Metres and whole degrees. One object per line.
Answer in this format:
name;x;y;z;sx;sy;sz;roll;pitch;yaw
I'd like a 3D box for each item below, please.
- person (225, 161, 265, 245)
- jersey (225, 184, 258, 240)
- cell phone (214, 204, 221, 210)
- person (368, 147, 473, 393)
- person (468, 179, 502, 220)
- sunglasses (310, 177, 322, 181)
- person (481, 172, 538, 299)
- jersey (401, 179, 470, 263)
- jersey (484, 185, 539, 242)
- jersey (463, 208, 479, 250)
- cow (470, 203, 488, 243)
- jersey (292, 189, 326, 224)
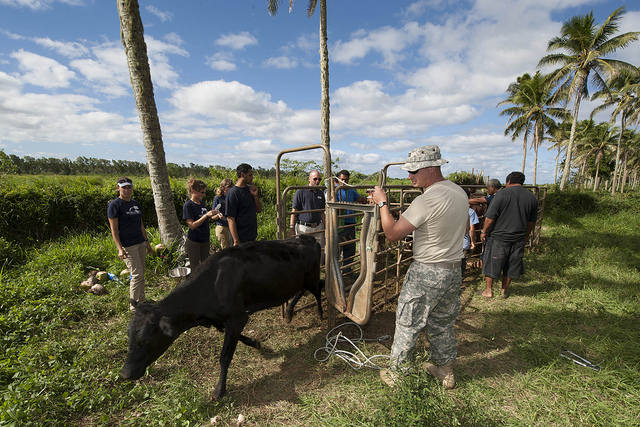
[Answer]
person;-1.639;-0.211;7.726;0.466;1.716;0.860;6;13;38
jersey;-1.692;-0.081;7.881;0.555;1.151;0.999;8;16;18
cell phone;-2.411;-0.160;8.399;0.107;0.030;0.107;-12;33;39
person;1.691;0.969;5.991;1.116;4.117;1.507;7;13;42
person;4.229;-0.367;8.978;0.759;0.940;1.075;6;-7;-29
sunglasses;-0.094;-0.785;8.010;0.232;0.078;0.135;-5;10;-18
person;4.304;0.482;8.304;1.081;3.080;0.764;5;10;6
jersey;1.868;0.150;5.838;0.987;1.309;0.262;-3;10;-9
jersey;4.339;-0.024;8.234;1.174;1.213;0.630;2;11;0
jersey;3.431;0.321;8.219;0.273;1.058;0.540;-7;12;7
cow;3.961;0.196;9.037;0.248;0.997;0.513;7;7;21
jersey;-0.241;-0.210;8.291;0.879;0.908;0.485;3;0;-28
